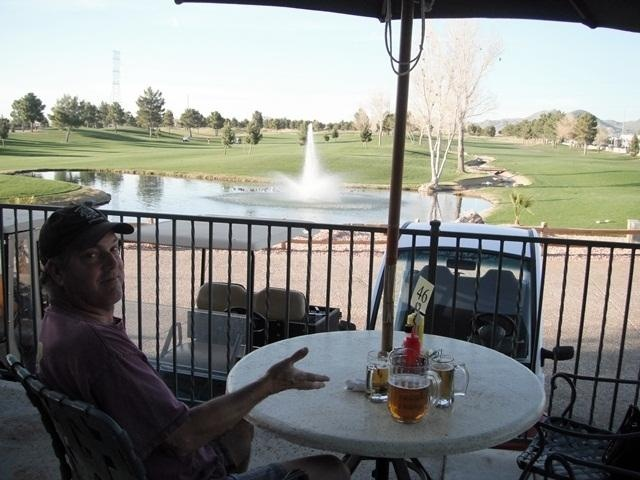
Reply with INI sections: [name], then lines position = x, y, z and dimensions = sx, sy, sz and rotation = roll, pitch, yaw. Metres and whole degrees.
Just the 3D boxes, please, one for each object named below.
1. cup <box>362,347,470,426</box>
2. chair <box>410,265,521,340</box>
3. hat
[cup]
position = 0.467, 0.638, 2.322
dimensions = 0.397, 0.293, 0.242
rotation = 5, 3, -2
[chair]
position = 1.365, 0.549, 4.802
dimensions = 0.702, 0.816, 0.825
rotation = 8, -34, 6
[hat]
position = -1.041, -0.035, 2.355
dimensions = 0.318, 0.174, 0.248
rotation = -25, 10, -1
